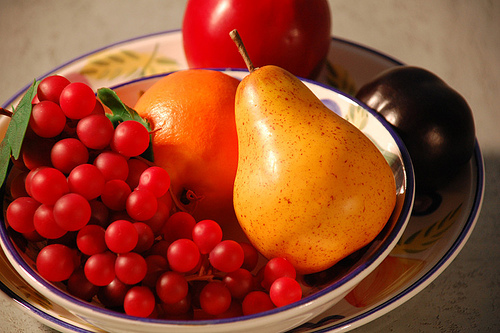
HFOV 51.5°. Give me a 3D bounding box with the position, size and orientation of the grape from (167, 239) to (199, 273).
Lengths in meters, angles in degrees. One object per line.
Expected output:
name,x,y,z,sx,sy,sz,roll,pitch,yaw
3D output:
grape,-0.099,0.133,0.768,0.031,0.030,0.039,35,98,4

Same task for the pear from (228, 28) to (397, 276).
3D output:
pear,0.071,0.015,0.824,0.333,0.086,0.255,40,85,5

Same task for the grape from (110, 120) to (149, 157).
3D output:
grape,-0.190,-0.038,0.826,0.053,0.058,0.072,2,66,-2

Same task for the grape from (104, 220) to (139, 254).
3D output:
grape,-0.191,0.102,0.770,0.051,0.054,0.066,2,106,-19

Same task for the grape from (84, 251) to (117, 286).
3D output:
grape,-0.223,0.155,0.767,0.044,0.048,0.062,3,89,-14

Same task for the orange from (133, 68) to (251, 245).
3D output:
orange,-0.101,-0.027,0.931,0.161,0.158,0.204,-3,96,-37

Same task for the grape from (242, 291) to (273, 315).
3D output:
grape,0.011,0.203,0.776,0.047,0.027,0.030,-11,83,-1

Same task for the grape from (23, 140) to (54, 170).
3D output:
grape,-0.323,-0.018,0.812,0.038,0.041,0.052,-3,90,1

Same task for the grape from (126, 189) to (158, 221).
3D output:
grape,-0.167,0.060,0.794,0.045,0.047,0.060,1,91,32

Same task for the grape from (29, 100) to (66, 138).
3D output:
grape,-0.317,-0.071,0.807,0.051,0.052,0.066,5,77,-34

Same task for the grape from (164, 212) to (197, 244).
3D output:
grape,-0.115,0.102,0.833,0.044,0.049,0.059,13,78,1

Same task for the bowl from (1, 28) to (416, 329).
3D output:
bowl,-0.053,0.047,0.831,0.468,0.497,0.279,17,126,24

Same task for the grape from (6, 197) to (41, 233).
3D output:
grape,-0.337,0.073,0.775,0.033,0.034,0.040,41,84,12

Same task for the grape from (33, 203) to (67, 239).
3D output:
grape,-0.303,0.084,0.776,0.041,0.045,0.055,5,117,10

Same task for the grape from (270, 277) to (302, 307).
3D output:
grape,0.055,0.190,0.805,0.045,0.040,0.043,-22,43,27

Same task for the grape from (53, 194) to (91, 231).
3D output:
grape,-0.264,0.066,0.768,0.052,0.056,0.070,3,103,-15

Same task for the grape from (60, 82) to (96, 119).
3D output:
grape,-0.265,-0.101,0.797,0.047,0.051,0.064,5,94,4

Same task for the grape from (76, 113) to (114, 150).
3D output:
grape,-0.248,-0.058,0.812,0.045,0.045,0.057,-20,116,-44

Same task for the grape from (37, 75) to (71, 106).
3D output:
grape,-0.313,-0.124,0.818,0.051,0.043,0.046,-27,118,-16

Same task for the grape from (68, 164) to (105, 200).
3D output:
grape,-0.245,0.025,0.782,0.047,0.049,0.062,11,97,-9

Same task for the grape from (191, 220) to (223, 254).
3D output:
grape,-0.066,0.105,0.790,0.042,0.046,0.059,13,76,-5

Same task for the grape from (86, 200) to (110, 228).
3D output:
grape,-0.228,0.071,0.785,0.034,0.035,0.045,-10,92,-9

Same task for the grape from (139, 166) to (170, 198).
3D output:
grape,-0.149,0.026,0.816,0.043,0.046,0.056,0,102,-8

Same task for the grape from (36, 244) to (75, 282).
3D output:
grape,-0.280,0.136,0.761,0.047,0.051,0.064,1,91,3

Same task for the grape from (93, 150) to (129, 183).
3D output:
grape,-0.211,-0.001,0.796,0.043,0.046,0.056,-18,96,4

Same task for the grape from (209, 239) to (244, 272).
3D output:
grape,-0.034,0.135,0.777,0.043,0.045,0.058,7,113,-12
